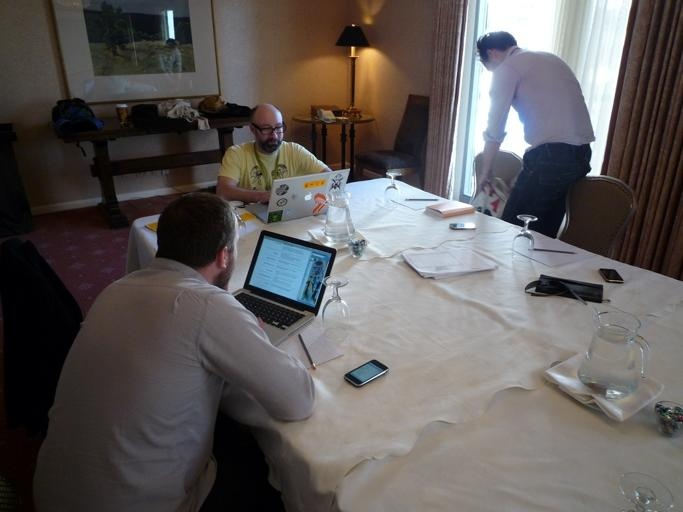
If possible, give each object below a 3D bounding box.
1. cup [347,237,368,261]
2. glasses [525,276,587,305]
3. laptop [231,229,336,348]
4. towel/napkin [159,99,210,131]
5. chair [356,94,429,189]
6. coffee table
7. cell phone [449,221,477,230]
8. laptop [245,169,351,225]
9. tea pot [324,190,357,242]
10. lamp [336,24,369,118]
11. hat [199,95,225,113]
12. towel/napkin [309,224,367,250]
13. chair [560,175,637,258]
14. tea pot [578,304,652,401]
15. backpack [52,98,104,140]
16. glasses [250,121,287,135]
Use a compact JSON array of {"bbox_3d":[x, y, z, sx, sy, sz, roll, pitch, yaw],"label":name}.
[{"bbox_3d":[0.078,-0.035,2.340,0.082,0.074,0.089,1,21,0],"label":"cup"},{"bbox_3d":[0.900,0.136,2.000,0.137,0.046,0.138,9,20,30],"label":"glasses"},{"bbox_3d":[-0.198,0.090,1.903,0.402,0.263,0.388,31,42,29],"label":"laptop"},{"bbox_3d":[-1.597,-1.446,4.899,0.386,0.166,0.319,26,29,36],"label":"towel/napkin"},{"bbox_3d":[0.593,-1.167,5.215,0.712,1.111,0.686,-1,21,-13],"label":"chair"},{"bbox_3d":[-0.093,-1.487,5.731,0.812,0.638,0.839,-13,31,-18],"label":"coffee table"},{"bbox_3d":[0.657,-0.163,2.608,0.100,0.018,0.062,0,21,2],"label":"cell phone"},{"bbox_3d":[-0.206,-0.331,2.617,0.425,0.266,0.331,-17,35,-29],"label":"laptop"},{"bbox_3d":[-0.042,-0.204,2.458,0.164,0.249,0.216,-3,26,-3],"label":"tea pot"},{"bbox_3d":[0.134,-2.198,5.674,0.373,0.943,0.857,0,26,2],"label":"lamp"},{"bbox_3d":[-1.371,-1.602,5.117,0.210,0.099,0.245,-2,25,-8],"label":"hat"},{"bbox_3d":[-0.024,-0.088,2.430,0.155,0.055,0.164,-13,26,-27],"label":"towel/napkin"},{"bbox_3d":[1.428,-0.241,2.728,0.334,0.498,0.283,-23,38,-31],"label":"chair"},{"bbox_3d":[0.835,0.299,1.479,0.168,0.229,0.142,18,31,35],"label":"tea pot"},{"bbox_3d":[-2.398,-1.198,4.408,0.411,0.344,0.428,0,6,21],"label":"backpack"},{"bbox_3d":[-0.467,-0.818,3.076,0.215,0.065,0.145,-4,26,-6],"label":"glasses"}]
